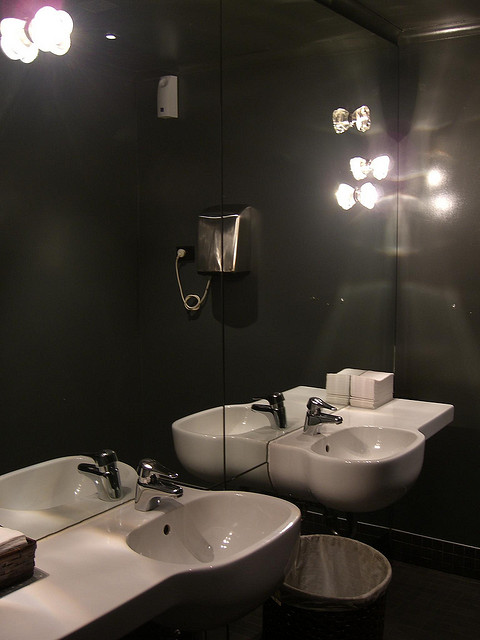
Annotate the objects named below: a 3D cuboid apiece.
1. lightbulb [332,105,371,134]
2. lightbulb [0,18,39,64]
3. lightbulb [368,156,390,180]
[{"bbox_3d":[0.488,-0.872,2.410,0.217,0.153,0.072,-17,18,-39],"label":"lightbulb"},{"bbox_3d":[-0.427,-0.535,1.071,0.060,0.066,0.059,31,31,-2],"label":"lightbulb"},{"bbox_3d":[0.669,-0.733,2.658,0.059,0.108,0.145,10,20,38],"label":"lightbulb"}]
